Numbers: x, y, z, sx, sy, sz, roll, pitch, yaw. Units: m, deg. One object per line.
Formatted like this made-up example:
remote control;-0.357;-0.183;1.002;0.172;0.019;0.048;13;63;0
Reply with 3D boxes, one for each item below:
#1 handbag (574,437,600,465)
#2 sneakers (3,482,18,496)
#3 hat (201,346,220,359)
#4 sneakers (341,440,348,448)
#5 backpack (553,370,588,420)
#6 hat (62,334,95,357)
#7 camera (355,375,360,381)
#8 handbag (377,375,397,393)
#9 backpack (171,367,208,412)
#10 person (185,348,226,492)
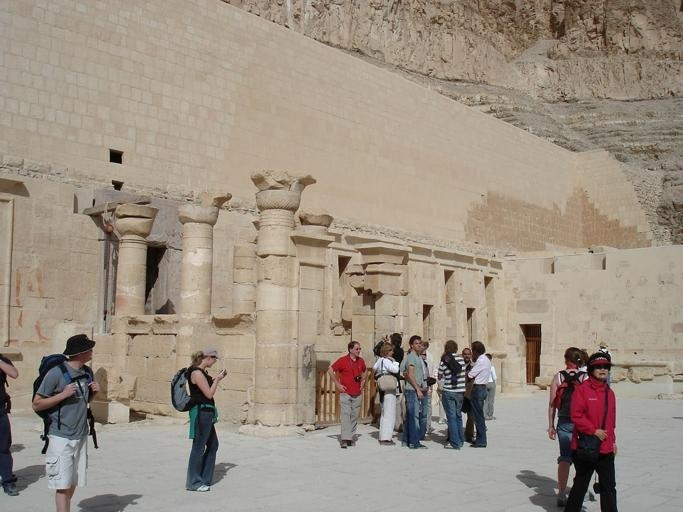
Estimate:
handbag;3.476;2.756;12.051;0.332;0.433;0.250;-9;-24;41
sneakers;-5.079;3.580;13.121;0.286;0.189;0.200;2;-6;-4
hat;-2.052;1.574;13.713;0.215;0.113;0.304;9;2;35
sneakers;0.057;3.532;15.982;0.162;0.133;0.190;1;-6;0
backpack;3.567;2.117;13.228;0.553;0.709;0.446;1;-9;36
hat;-3.772;1.290;12.287;0.389;0.127;0.322;1;23;37
camera;0.311;2.344;16.291;0.080;0.076;0.019;-2;-34;-10
handbag;0.882;2.442;16.291;0.345;0.315;0.164;-2;3;17
backpack;-2.569;2.221;13.671;0.449;0.736;0.496;9;-25;-24
person;-2.172;2.598;13.516;0.588;2.193;0.466;3;-6;-10
